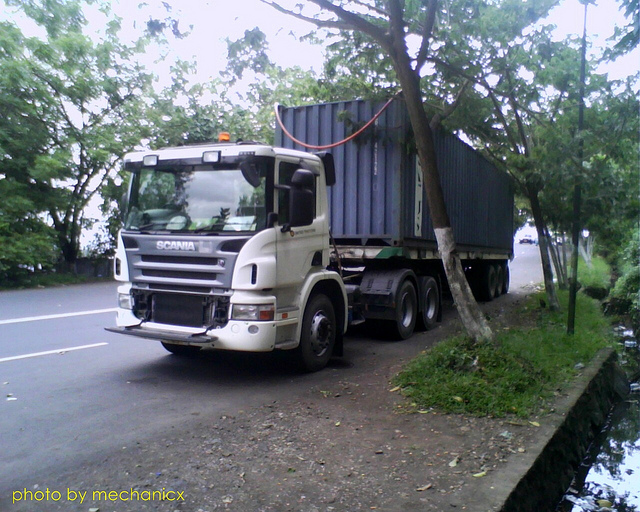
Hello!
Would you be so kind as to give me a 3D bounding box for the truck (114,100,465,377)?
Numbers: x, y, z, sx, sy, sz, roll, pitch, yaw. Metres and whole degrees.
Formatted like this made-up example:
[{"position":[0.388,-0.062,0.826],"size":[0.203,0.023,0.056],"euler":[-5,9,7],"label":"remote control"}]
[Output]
[{"position":[-1.062,0.555,9.917],"size":[2.664,4.108,8.104],"euler":[0,-16,10],"label":"truck"}]
